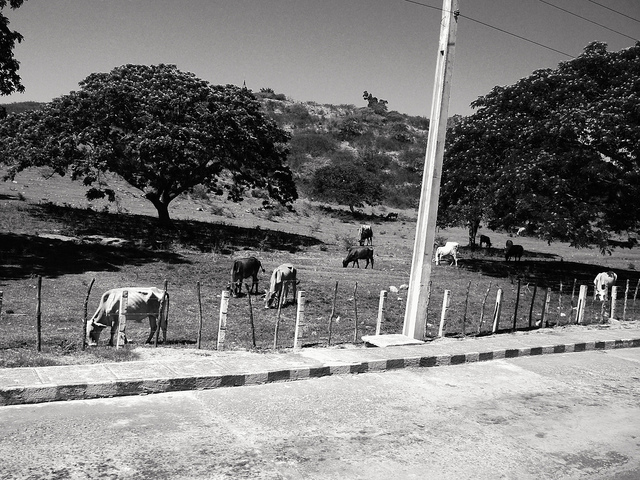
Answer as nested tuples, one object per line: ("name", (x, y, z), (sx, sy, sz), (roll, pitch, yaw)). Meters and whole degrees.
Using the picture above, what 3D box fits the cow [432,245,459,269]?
("cow", (7.615, 0.824, 37.435), (1.345, 1.122, 2.951), (4, 4, 10))

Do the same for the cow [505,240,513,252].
("cow", (13.045, 0.487, 43.012), (0.341, 0.912, 0.636), (6, 11, -4))

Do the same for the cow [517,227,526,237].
("cow", (17.945, -0.732, 55.269), (0.483, 1.259, 0.974), (0, -1, -25))

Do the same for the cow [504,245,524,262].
("cow", (12.833, 0.837, 41.145), (0.946, 0.959, 2.046), (4, 5, 17))

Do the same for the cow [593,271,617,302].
("cow", (13.115, 2.163, 28.597), (1.029, 1.564, 0.654), (9, 10, 22))

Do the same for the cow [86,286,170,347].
("cow", (-5.021, 2.054, 16.377), (2.447, 1.483, 0.741), (-4, -7, -45))

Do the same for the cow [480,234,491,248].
("cow", (13.672, 0.088, 51.441), (0.800, 0.956, 2.422), (4, 4, 15))
